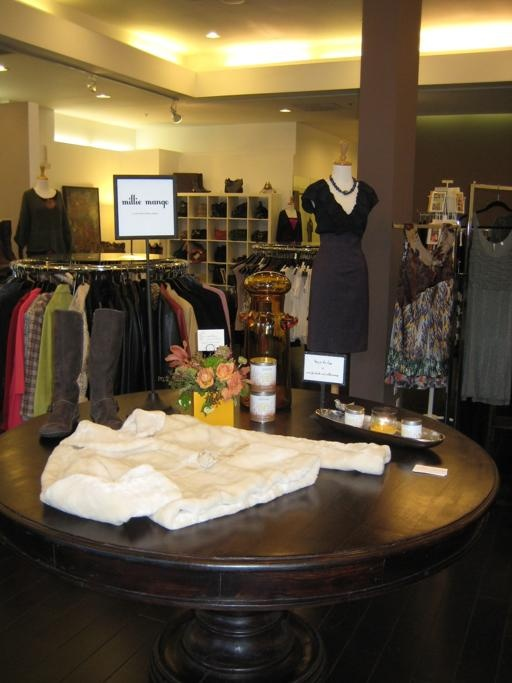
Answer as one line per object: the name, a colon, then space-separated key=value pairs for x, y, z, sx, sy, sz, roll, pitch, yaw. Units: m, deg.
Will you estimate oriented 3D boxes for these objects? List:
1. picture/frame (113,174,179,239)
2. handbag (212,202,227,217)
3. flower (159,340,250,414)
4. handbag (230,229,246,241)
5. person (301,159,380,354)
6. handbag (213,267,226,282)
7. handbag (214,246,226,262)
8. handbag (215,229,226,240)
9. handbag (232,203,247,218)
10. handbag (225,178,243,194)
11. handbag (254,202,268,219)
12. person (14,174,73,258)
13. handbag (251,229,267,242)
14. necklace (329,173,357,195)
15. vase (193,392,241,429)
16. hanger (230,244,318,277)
picture/frame: x=-0.396 y=-0.474 z=1.814 sx=0.236 sy=0.242 sz=0.025 roll=-2 pitch=9 yaw=-19
handbag: x=-0.663 y=-2.327 z=9.145 sx=0.231 sy=0.322 sz=0.298 roll=-1 pitch=15 yaw=-11
flower: x=-0.134 y=0.092 z=1.425 sx=0.198 sy=0.151 sz=0.202 roll=-2 pitch=6 yaw=-12
handbag: x=-0.313 y=-1.839 z=8.968 sx=0.384 sy=0.191 sz=0.075 roll=11 pitch=11 yaw=41
person: x=0.475 y=-0.486 z=3.032 sx=0.435 sy=1.094 sz=0.195 roll=6 pitch=8 yaw=12
handbag: x=-0.684 y=-1.197 z=9.259 sx=0.239 sy=0.320 sz=0.337 roll=3 pitch=8 yaw=-5
handbag: x=-0.653 y=-1.570 z=9.247 sx=0.209 sy=0.304 sz=0.299 roll=1 pitch=4 yaw=6
handbag: x=-0.642 y=-1.891 z=9.208 sx=0.277 sy=0.193 sz=0.117 roll=10 pitch=10 yaw=36
handbag: x=-0.272 y=-2.269 z=9.081 sx=0.292 sy=0.256 sz=0.456 roll=-4 pitch=0 yaw=-2
handbag: x=-0.407 y=-2.751 z=9.197 sx=0.242 sy=0.406 sz=0.407 roll=-1 pitch=8 yaw=0
handbag: x=0.075 y=-2.234 z=8.835 sx=0.212 sy=0.349 sz=0.343 roll=-5 pitch=16 yaw=-10
person: x=-2.613 y=-1.529 z=6.355 sx=0.449 sy=0.994 sz=0.634 roll=8 pitch=9 yaw=28
handbag: x=0.050 y=-1.783 z=8.824 sx=0.247 sy=0.173 sz=0.205 roll=-1 pitch=3 yaw=8
necklace: x=0.504 y=-0.898 z=2.999 sx=0.165 sy=0.123 sz=0.103 roll=5 pitch=8 yaw=5
vase: x=-0.104 y=0.192 z=1.380 sx=0.146 sy=0.106 sz=0.080 roll=1 pitch=2 yaw=3
hanger: x=0.230 y=-0.975 z=6.151 sx=0.738 sy=0.276 sz=0.999 roll=2 pitch=4 yaw=20
